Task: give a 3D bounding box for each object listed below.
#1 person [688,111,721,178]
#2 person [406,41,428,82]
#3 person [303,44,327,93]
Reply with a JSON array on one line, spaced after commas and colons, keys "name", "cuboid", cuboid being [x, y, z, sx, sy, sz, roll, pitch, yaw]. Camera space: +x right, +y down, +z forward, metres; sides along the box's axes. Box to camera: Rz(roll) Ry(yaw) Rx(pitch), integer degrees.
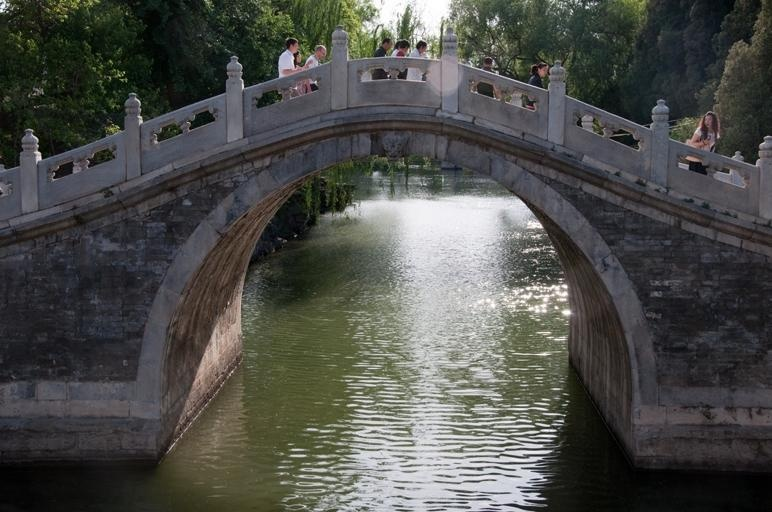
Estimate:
[{"name": "person", "cuboid": [7.350, -2.659, 36.607, 0.653, 1.354, 2.250, 6, 10, 11]}, {"name": "person", "cuboid": [0.713, -4.544, 37.711, 0.514, 1.275, 0.468, 9, 39, 8]}, {"name": "person", "cuboid": [-1.585, -4.459, 38.244, 0.513, 1.234, 0.468, -1, 22, 13]}]
